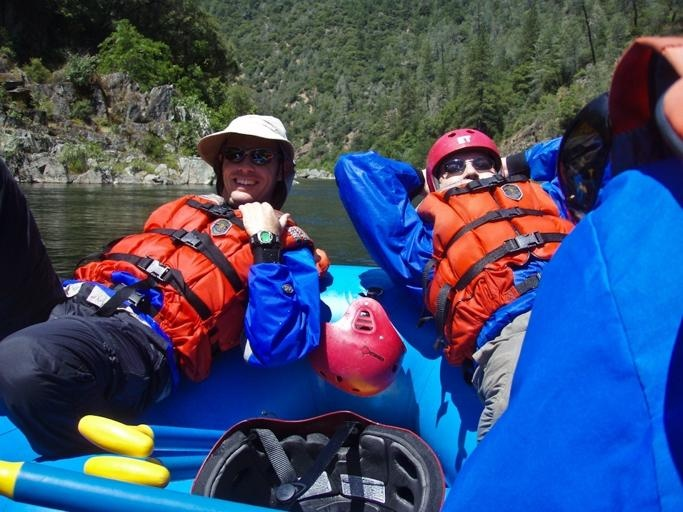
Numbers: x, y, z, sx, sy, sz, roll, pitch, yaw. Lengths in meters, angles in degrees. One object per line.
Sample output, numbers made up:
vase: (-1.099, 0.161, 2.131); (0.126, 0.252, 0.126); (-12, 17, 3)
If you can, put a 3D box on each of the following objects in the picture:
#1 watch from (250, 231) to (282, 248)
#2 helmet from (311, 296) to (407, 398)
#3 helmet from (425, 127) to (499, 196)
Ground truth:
watch: (-0.293, -0.066, 2.399); (0.081, 0.031, 0.067); (9, 55, -12)
helmet: (0.069, 0.374, 2.317); (0.263, 0.287, 0.377); (19, 25, -7)
helmet: (0.535, -0.431, 2.801); (0.236, 0.345, 0.315); (3, 4, 1)
